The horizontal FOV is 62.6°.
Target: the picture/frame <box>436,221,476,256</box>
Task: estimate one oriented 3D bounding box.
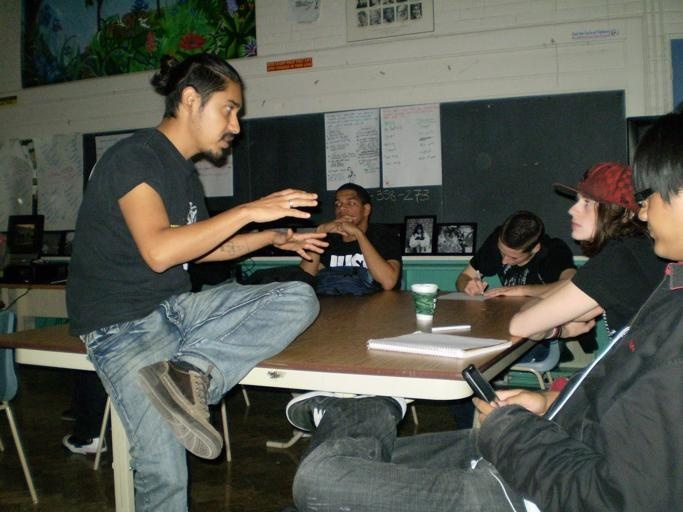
[{"bbox_3d":[0.981,-0.143,4.775,0.325,0.247,0.024,2,-2,18],"label":"picture/frame"}]

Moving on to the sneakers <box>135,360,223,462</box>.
[{"bbox_3d":[-0.512,0.497,1.782,0.233,0.319,0.129,-3,6,-22],"label":"sneakers"}]

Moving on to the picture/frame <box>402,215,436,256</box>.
[{"bbox_3d":[0.676,-0.174,4.874,0.393,0.463,0.038,-1,-8,18],"label":"picture/frame"}]

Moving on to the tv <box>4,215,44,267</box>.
[{"bbox_3d":[-2.828,-0.149,4.908,0.458,0.414,0.260,1,6,17],"label":"tv"}]

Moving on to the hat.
[{"bbox_3d":[1.048,-0.281,2.231,0.343,0.159,0.215,20,9,10],"label":"hat"}]

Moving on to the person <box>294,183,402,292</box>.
[{"bbox_3d":[0.081,-0.081,3.574,0.647,0.657,0.748,-3,-6,19],"label":"person"}]
